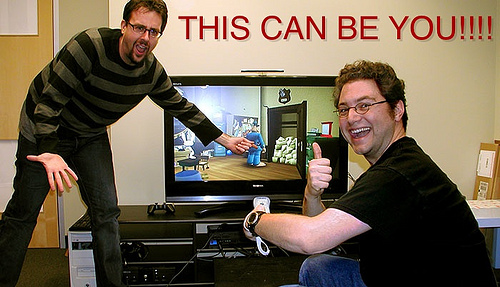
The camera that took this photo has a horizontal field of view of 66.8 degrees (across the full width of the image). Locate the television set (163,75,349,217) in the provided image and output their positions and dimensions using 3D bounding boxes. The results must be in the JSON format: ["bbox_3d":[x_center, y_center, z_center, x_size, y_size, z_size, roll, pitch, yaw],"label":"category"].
[{"bbox_3d":[0.019,-0.032,3.733,1.651,1.016,0.510,0,0,-5],"label":"television set"}]

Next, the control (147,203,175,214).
[{"bbox_3d":[-0.912,0.666,3.892,0.272,0.085,0.136,-1,5,-13],"label":"control"}]
